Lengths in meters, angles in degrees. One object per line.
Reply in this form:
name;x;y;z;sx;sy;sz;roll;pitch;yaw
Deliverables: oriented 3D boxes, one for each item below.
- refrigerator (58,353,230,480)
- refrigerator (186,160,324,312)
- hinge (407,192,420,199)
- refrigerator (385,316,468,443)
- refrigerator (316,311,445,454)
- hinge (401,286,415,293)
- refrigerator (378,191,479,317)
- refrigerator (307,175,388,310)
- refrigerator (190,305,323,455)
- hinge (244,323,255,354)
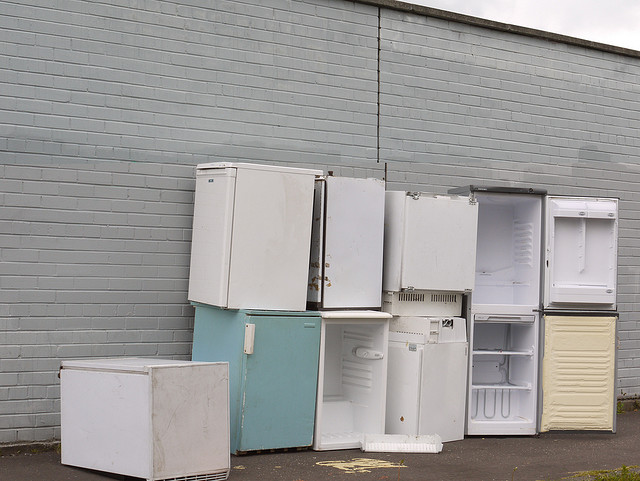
refrigerator;-1.489;1.473;6.347;1.539;0.996;1.050;-2;-4;34
refrigerator;-0.683;-0.082;7.589;1.276;1.359;1.051;2;4;-26
hinge;0.996;-0.483;7.691;0.158;0.081;0.106;4;-4;-41
refrigerator;1.126;1.478;7.668;0.833;1.325;0.416;1;-3;6
refrigerator;0.424;1.571;7.609;1.175;1.649;1.598;3;-8;-17
hinge;0.942;0.516;7.650;0.148;0.062;0.076;3;-4;-28
refrigerator;1.105;0.177;8.165;1.287;1.237;1.271;2;-2;24
refrigerator;0.423;0.077;7.876;1.079;1.476;1.031;1;-3;7
refrigerator;-0.797;1.441;7.466;1.413;1.382;1.372;7;-9;-23
hinge;-0.681;0.940;6.900;0.094;0.281;0.047;2;-3;-9
